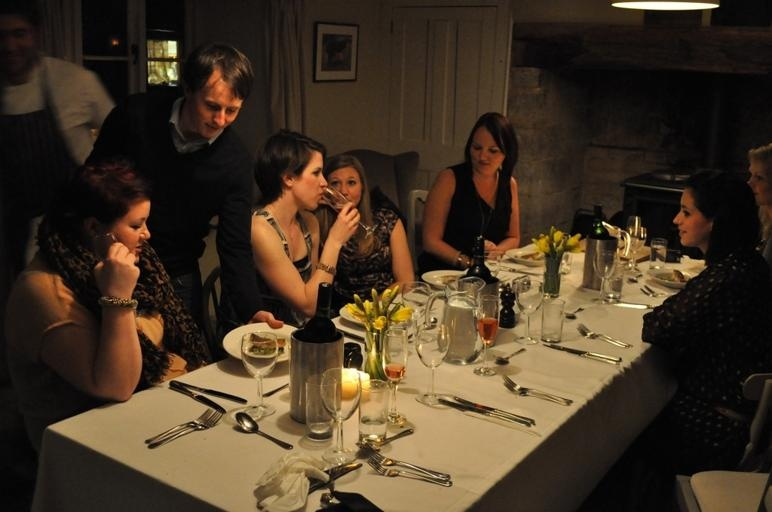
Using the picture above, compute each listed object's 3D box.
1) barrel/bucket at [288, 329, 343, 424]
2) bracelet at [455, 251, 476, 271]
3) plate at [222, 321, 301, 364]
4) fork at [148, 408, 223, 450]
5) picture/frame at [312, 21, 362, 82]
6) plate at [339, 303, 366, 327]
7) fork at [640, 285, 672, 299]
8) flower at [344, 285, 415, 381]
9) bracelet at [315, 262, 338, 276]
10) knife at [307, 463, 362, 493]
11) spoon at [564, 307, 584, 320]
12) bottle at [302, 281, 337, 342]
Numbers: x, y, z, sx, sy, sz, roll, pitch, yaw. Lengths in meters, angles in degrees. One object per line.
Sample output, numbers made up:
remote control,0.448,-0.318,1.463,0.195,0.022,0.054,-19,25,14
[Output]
barrel/bucket,-0.230,0.381,2.035,0.244,0.413,0.248,1,4,0
bracelet,0.431,0.030,3.189,0.097,0.034,0.101,10,38,9
plate,-0.521,0.308,2.284,0.192,0.042,0.196,14,22,23
fork,-0.610,0.542,1.886,0.278,0.042,0.073,-20,40,-38
picture/frame,-0.513,-2.106,6.044,0.035,0.497,0.474,18,35,42
plate,-0.152,0.235,2.359,0.111,0.030,0.113,1,44,-29
fork,1.359,0.187,2.963,0.019,0.021,0.132,-33,38,-32
flower,-0.022,0.284,2.133,0.278,0.351,0.295,1,-6,2
bracelet,-0.299,0.092,3.033,0.088,0.056,0.092,8,-14,41
knife,-0.136,0.627,1.730,0.202,0.028,0.051,-14,38,-43
spoon,0.863,0.259,2.709,0.042,0.047,0.116,9,11,31
bottle,-0.256,0.208,2.219,0.088,0.241,0.091,5,42,-5
